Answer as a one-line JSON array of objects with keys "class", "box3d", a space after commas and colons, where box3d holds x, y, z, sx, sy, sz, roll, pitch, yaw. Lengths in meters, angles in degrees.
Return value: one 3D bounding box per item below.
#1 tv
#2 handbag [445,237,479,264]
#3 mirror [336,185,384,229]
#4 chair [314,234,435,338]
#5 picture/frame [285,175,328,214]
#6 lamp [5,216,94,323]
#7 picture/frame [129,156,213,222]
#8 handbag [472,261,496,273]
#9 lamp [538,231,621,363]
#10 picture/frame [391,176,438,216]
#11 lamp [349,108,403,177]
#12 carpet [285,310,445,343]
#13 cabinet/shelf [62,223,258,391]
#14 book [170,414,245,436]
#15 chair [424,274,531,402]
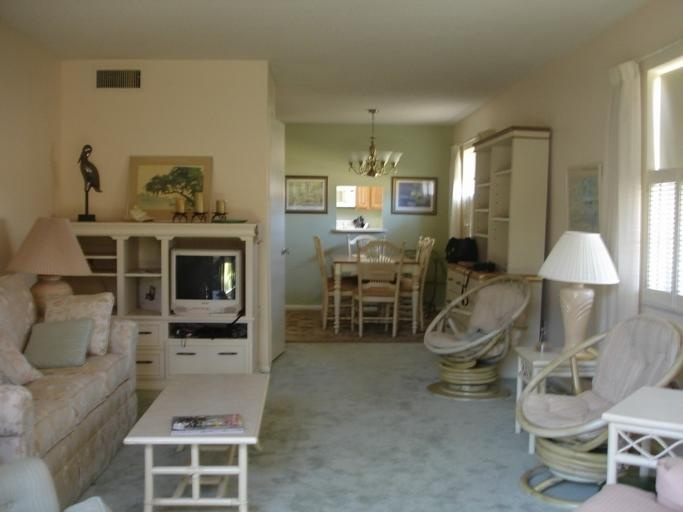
[{"class": "tv", "box3d": [-1.195, 0.231, 5.006, 0.673, 0.580, 0.379, 0, 0, 8]}, {"class": "handbag", "box3d": [1.434, -0.079, 6.658, 0.354, 0.338, 0.276, 3, -1, -4]}, {"class": "mirror", "box3d": [0.246, -0.784, 8.390, 0.660, 0.611, 0.203, 0, 1, -3]}, {"class": "chair", "box3d": [0.462, 0.359, 7.285, 1.251, 1.209, 1.405, 1, 1, 0]}, {"class": "picture/frame", "box3d": [-0.554, -0.941, 8.293, 0.627, 0.522, 0.031, 2, 7, 5]}, {"class": "lamp", "box3d": [-2.229, 0.054, 4.505, 0.690, 1.009, 0.711, -1, 9, -19]}, {"class": "picture/frame", "box3d": [-1.632, -0.666, 5.192, 0.645, 0.522, 0.042, 0, 7, -2]}, {"class": "handbag", "box3d": [1.484, 0.116, 5.738, 0.315, 0.135, 0.107, 6, -3, 0]}, {"class": "lamp", "box3d": [1.644, 0.287, 3.939, 0.560, 0.858, 0.542, 8, -12, -10]}, {"class": "picture/frame", "box3d": [1.093, -0.937, 8.321, 0.591, 0.495, 0.045, 0, 0, -3]}, {"class": "lamp", "box3d": [0.467, -1.563, 7.732, 0.787, 0.872, 1.150, 1, 8, 5]}, {"class": "carpet", "box3d": [0.121, 0.919, 7.126, 1.762, 0.074, 1.483, 0, 7, -2]}, {"class": "cabinet/shelf", "box3d": [-1.477, 0.439, 4.544, 1.451, 1.359, 0.477, 0, 2, -4]}, {"class": "book", "box3d": [-0.750, 0.935, 3.063, 0.421, 0.038, 0.231, 0, 7, -6]}, {"class": "chair", "box3d": [1.206, 0.700, 4.937, 0.813, 1.014, 0.846, 2, 3, -12]}]
